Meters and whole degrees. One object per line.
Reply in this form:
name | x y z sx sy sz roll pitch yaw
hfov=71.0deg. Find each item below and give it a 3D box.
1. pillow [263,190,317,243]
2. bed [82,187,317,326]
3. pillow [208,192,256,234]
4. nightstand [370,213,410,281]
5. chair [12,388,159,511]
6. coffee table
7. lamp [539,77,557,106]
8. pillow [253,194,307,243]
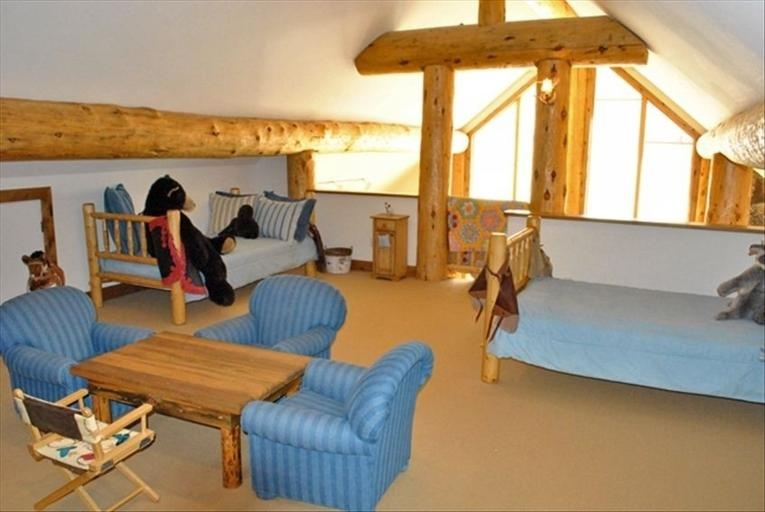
pillow | -1.165 -0.488 7.183 0.738 0.694 0.217 6 4 18
bed | -2.187 -0.166 6.721 1.563 1.024 2.040 7 13 28
pillow | -2.136 -0.571 7.569 0.649 0.583 0.187 -1 -7 20
nightstand | 0.102 -0.142 7.646 0.491 0.930 0.384 1 11 8
chair | -1.975 1.316 3.581 0.641 0.802 0.679 10 16 29
coffee table | -1.378 0.862 3.828 1.615 0.601 0.944 6 16 22
lamp | 2.069 -2.078 6.815 0.258 0.321 0.191 5 12 32
pillow | -1.379 -0.475 7.182 0.663 0.443 0.228 5 1 18
